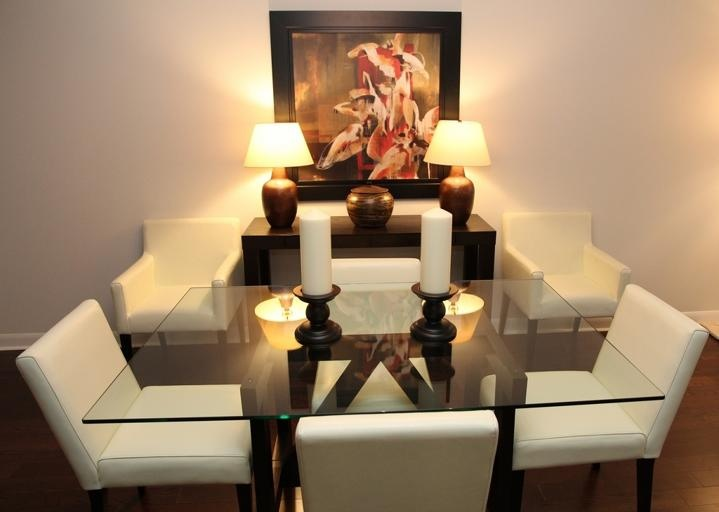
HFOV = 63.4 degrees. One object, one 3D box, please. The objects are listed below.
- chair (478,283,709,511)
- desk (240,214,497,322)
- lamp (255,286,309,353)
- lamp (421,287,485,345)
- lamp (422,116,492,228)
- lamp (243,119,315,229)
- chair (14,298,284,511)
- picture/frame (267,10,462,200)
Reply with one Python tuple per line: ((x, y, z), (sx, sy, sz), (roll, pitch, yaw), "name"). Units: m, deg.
((0.870, 0.564, 3.029), (1.044, 1.233, 0.868), (-1, 16, -4), "chair")
((0.092, 0.331, 4.149), (1.679, 0.986, 0.519), (-3, -1, -3), "desk")
((-0.337, 0.297, 2.719), (0.248, 0.241, 0.247), (-3, 13, -22), "lamp")
((0.487, 0.277, 2.749), (0.233, 0.237, 0.226), (-2, 12, -15), "lamp")
((0.676, -0.571, 4.012), (0.427, 0.707, 0.335), (3, 19, 13), "lamp")
((-0.533, -0.536, 3.943), (0.435, 0.704, 0.248), (-4, 19, -7), "lamp")
((-0.873, 0.602, 2.907), (0.990, 1.132, 0.802), (0, 22, -3), "chair")
((0.025, -1.109, 4.054), (1.271, 1.278, 0.090), (-1, 13, -3), "picture/frame")
